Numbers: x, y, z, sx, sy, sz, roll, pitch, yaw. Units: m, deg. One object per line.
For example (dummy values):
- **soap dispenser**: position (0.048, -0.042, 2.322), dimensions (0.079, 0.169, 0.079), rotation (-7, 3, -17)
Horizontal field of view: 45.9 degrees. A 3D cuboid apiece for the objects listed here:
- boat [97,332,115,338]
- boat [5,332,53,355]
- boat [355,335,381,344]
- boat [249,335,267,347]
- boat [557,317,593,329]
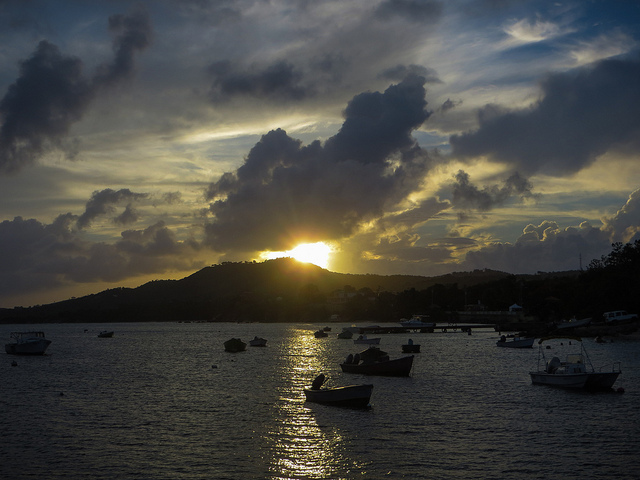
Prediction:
- **boat**: position (-59.442, 26.769, 210.704), dimensions (3.317, 0.793, 1.926), rotation (0, 3, -13)
- **boat**: position (-53.036, 18.938, 135.124), dimensions (3.896, 4.346, 11.904), rotation (-4, -8, -42)
- **boat**: position (10.319, 21.481, 161.787), dimensions (5.647, 1.860, 1.817), rotation (-2, -6, 5)
- **boat**: position (-12.454, 21.067, 155.128), dimensions (2.523, 0.912, 1.795), rotation (-1, -30, 11)
- **boat**: position (58.115, 19.063, 172.571), dimensions (6.412, 2.185, 10.424), rotation (-1, -3, 23)
